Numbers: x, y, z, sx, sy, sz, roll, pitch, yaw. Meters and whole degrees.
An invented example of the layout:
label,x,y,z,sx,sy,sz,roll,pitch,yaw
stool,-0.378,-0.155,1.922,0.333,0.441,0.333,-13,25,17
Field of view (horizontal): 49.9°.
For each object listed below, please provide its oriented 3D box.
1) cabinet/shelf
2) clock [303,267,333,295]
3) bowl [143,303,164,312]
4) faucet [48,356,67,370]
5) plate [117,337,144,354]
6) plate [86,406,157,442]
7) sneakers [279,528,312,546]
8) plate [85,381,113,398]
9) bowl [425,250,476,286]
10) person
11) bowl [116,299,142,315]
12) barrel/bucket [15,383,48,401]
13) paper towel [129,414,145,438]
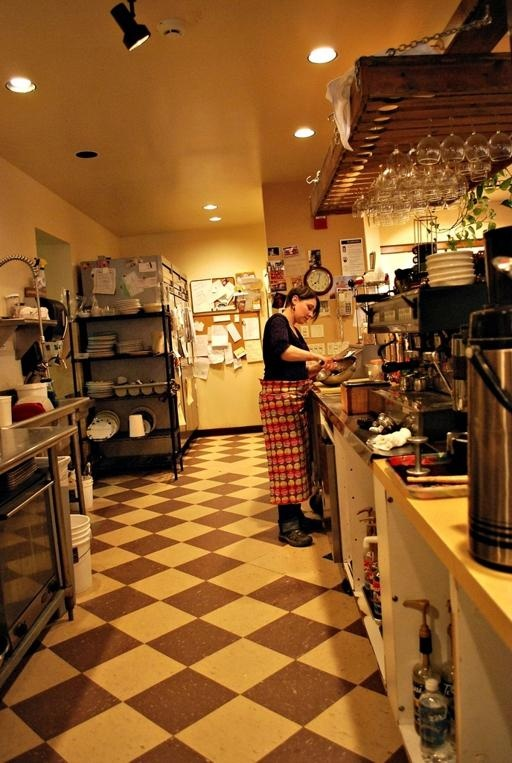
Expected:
label,x,y,z,sx,sy,sz,roll,pitch,yaw
cabinet/shelf,-1.296,-0.180,5.403,0.980,1.578,0.575,-13,-17,3
clock,0.620,-1.003,5.430,0.264,0.267,0.086,0,3,-12
bowl,-0.978,-0.690,5.220,0.169,0.074,0.071,-6,3,-11
faucet,-1.741,-0.162,4.835,0.185,0.139,0.107,-11,15,-21
plate,-1.216,-0.367,5.362,0.180,0.107,0.181,-1,5,20
plate,-1.312,0.421,5.268,0.377,0.088,0.380,-1,31,4
sneakers,0.225,0.880,3.127,0.072,0.078,0.191,2,-7,-33
plate,-1.495,0.071,5.262,0.175,0.105,0.178,1,5,12
bowl,0.515,-0.301,1.461,0.101,0.075,0.101,-2,11,0
person,0.239,0.184,3.155,0.393,1.457,0.450,-5,3,6
bowl,-1.219,-0.709,5.278,0.173,0.104,0.171,-3,2,0
barrel/bucket,-1.339,0.064,3.325,0.130,0.081,0.132,0,1,0
paper towel,-1.104,0.417,5.106,0.118,0.172,0.098,-5,3,-2
